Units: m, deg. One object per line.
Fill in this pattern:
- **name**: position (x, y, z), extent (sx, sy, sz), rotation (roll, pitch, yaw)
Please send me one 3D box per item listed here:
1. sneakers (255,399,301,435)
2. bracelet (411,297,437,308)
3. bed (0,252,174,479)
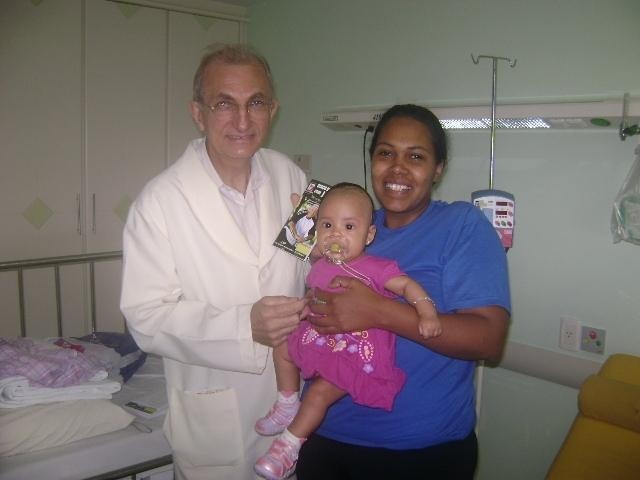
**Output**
- **sneakers**: position (-0.175, 0.723, 2.036), extent (0.218, 0.151, 0.099), rotation (-1, 13, -30)
- **bracelet**: position (0.375, 0.220, 1.729), extent (0.043, 0.030, 0.058), rotation (1, 1, -24)
- **bed**: position (-1.311, 0.697, 2.619), extent (0.616, 0.797, 1.055), rotation (-5, 11, -29)
